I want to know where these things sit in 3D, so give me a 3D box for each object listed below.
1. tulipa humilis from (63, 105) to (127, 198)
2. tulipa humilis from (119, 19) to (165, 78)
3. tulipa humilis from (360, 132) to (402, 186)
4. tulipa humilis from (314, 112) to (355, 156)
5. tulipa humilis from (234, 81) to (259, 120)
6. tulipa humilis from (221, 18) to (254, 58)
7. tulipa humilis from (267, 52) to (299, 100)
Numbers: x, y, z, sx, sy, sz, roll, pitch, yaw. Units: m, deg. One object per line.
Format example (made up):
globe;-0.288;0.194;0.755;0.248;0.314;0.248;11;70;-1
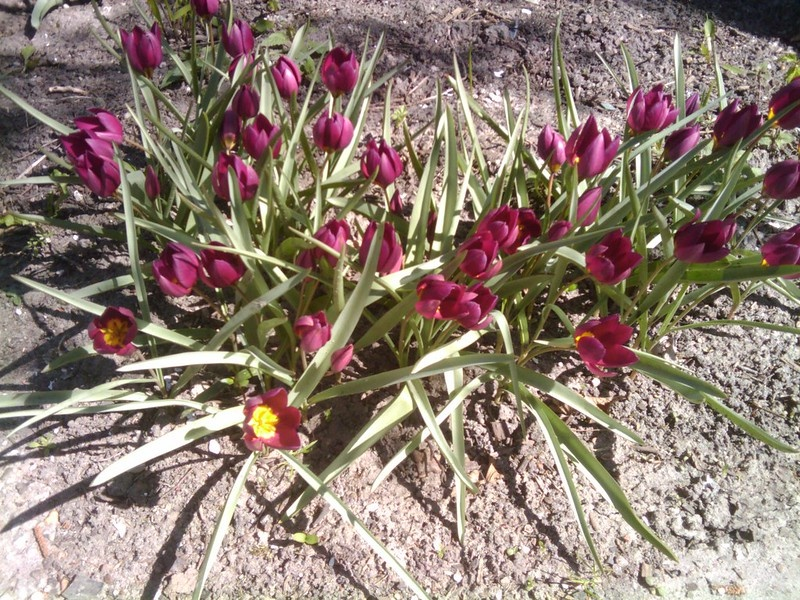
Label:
tulipa humilis;-1.037;-0.477;2.139;0.179;0.302;0.306;-11;55;-18
tulipa humilis;-0.935;-0.924;2.295;0.106;0.184;0.110;9;15;41
tulipa humilis;-0.066;-0.448;2.099;0.130;0.142;0.185;-7;88;-43
tulipa humilis;-0.240;-0.584;2.179;0.133;0.128;0.150;7;85;8
tulipa humilis;-0.555;-0.708;2.225;0.093;0.142;0.099;-15;55;-21
tulipa humilis;-0.622;-1.023;2.388;0.108;0.130;0.152;-23;60;-26
tulipa humilis;-0.429;-0.829;2.274;0.114;0.162;0.120;12;50;0
